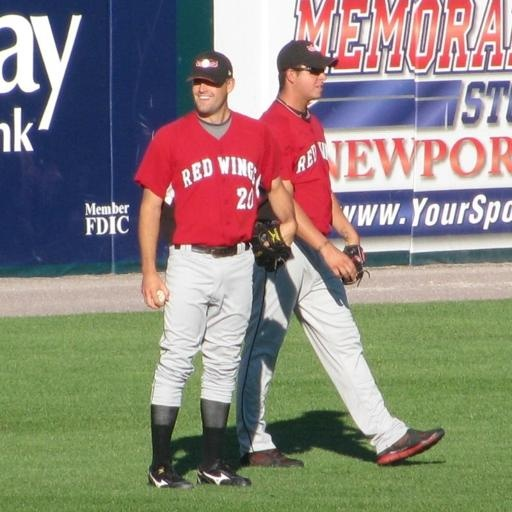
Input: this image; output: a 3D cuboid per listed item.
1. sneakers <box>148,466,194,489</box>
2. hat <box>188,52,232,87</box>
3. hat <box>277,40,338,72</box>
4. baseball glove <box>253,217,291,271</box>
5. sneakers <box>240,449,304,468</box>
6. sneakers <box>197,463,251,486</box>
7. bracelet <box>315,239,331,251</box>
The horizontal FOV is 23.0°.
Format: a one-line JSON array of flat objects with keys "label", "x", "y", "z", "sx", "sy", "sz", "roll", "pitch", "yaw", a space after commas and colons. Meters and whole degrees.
[{"label": "sneakers", "x": -0.532, "y": 1.327, "z": 7.554, "sx": 0.271, "sy": 0.136, "sz": 0.115, "roll": 9, "pitch": 10, "yaw": 19}, {"label": "hat", "x": -0.272, "y": -1.108, "z": 7.484, "sx": 0.169, "sy": 0.153, "sz": 0.248, "roll": 7, "pitch": 13, "yaw": 13}, {"label": "hat", "x": 0.315, "y": -1.250, "z": 8.193, "sx": 0.309, "sy": 0.181, "sz": 0.210, "roll": -10, "pitch": 3, "yaw": 18}, {"label": "baseball glove", "x": 0.078, "y": -0.057, "z": 7.747, "sx": 0.196, "sy": 0.314, "sz": 0.294, "roll": -4, "pitch": -3, "yaw": -8}, {"label": "sneakers", "x": 0.102, "y": 1.267, "z": 8.004, "sx": 0.408, "sy": 0.170, "sz": 0.145, "roll": 0, "pitch": -5, "yaw": 5}, {"label": "sneakers", "x": -0.201, "y": 1.334, "z": 7.639, "sx": 0.333, "sy": 0.150, "sz": 0.129, "roll": 2, "pitch": -3, "yaw": 2}, {"label": "bracelet", "x": 0.403, "y": -0.063, "z": 7.849, "sx": 0.063, "sy": 0.016, "sz": 0.066, "roll": -47, "pitch": 1, "yaw": -35}]
